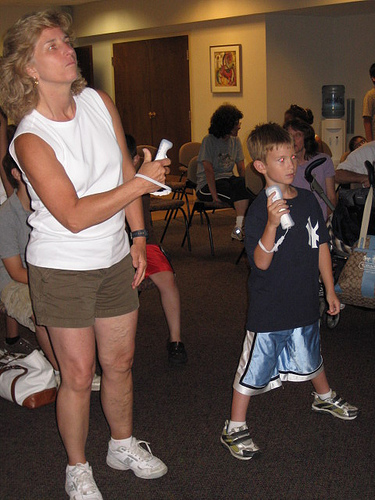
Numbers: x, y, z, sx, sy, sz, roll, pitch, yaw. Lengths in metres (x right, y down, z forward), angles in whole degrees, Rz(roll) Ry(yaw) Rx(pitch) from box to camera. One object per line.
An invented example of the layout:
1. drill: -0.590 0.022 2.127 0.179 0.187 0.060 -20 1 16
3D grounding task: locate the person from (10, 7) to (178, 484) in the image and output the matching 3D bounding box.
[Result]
1. person: -0.296 0.084 1.332 0.385 1.474 0.886 -5 5 -15

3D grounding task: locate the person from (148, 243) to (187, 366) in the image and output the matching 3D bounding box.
1. person: -0.087 0.356 2.386 0.175 0.770 0.218 -17 27 -7

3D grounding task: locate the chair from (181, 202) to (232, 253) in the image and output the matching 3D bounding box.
1. chair: 0.233 -0.222 5.284 0.636 0.642 0.903 5 14 25

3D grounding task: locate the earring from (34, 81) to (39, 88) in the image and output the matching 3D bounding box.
1. earring: -0.356 -0.390 0.948 0.009 0.011 0.004 25 7 -4

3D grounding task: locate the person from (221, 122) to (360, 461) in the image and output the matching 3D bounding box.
1. person: 0.336 0.135 1.534 0.373 1.241 0.597 0 6 38

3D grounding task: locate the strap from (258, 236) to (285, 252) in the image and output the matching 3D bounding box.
1. strap: 0.278 -0.015 1.335 0.042 0.053 0.117 1 6 42

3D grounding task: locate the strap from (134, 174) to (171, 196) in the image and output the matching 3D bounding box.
1. strap: -0.078 -0.156 0.968 0.047 0.082 0.029 -21 36 49
